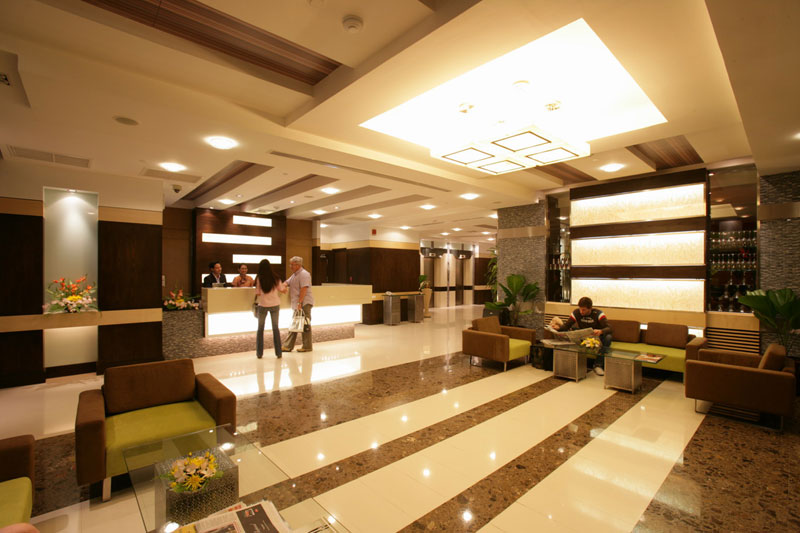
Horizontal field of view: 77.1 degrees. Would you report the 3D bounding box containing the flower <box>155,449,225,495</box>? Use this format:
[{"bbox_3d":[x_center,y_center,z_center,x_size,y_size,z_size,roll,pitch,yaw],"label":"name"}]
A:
[{"bbox_3d":[-2.209,2.128,5.164,0.464,0.190,0.459,-6,-4,8],"label":"flower"}]

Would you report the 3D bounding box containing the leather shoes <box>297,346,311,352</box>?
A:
[{"bbox_3d":[-2.033,1.746,10.637,0.287,0.110,0.108,8,-9,-33],"label":"leather shoes"}]

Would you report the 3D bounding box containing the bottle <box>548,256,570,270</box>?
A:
[{"bbox_3d":[3.605,-0.089,11.284,0.334,0.110,0.322,4,-22,2],"label":"bottle"}]

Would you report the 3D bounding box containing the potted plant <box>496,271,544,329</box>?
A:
[{"bbox_3d":[2.724,0.750,11.440,1.051,1.013,0.836,7,-3,16],"label":"potted plant"}]

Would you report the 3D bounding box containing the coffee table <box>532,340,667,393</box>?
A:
[{"bbox_3d":[3.405,1.708,8.746,1.868,0.540,0.537,3,6,37],"label":"coffee table"}]

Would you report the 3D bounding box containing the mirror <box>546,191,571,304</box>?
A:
[{"bbox_3d":[3.525,-0.340,11.278,0.317,2.308,0.484,-5,4,-29],"label":"mirror"}]

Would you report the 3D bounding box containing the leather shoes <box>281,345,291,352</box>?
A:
[{"bbox_3d":[-2.383,1.737,10.535,0.207,0.075,0.070,-1,-1,13],"label":"leather shoes"}]

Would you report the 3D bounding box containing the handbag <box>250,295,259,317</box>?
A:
[{"bbox_3d":[-2.929,0.818,10.203,0.173,0.214,0.546,1,-33,-7],"label":"handbag"}]

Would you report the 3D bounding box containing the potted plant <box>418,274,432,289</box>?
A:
[{"bbox_3d":[0.938,0.570,18.405,0.510,0.470,0.491,0,-2,8],"label":"potted plant"}]

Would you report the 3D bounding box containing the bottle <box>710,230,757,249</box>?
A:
[{"bbox_3d":[6.114,-0.492,9.184,0.626,0.307,0.301,3,1,42],"label":"bottle"}]

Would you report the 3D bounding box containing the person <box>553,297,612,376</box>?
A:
[{"bbox_3d":[3.407,1.268,9.504,1.083,1.285,1.117,-2,5,14],"label":"person"}]

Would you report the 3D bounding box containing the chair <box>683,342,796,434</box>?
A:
[{"bbox_3d":[5.103,1.758,7.581,1.340,1.007,1.294,1,3,35],"label":"chair"}]

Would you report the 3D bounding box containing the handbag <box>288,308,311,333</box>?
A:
[{"bbox_3d":[-2.096,1.112,10.421,0.352,0.491,0.514,-4,-1,5],"label":"handbag"}]

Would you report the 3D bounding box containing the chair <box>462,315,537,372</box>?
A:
[{"bbox_3d":[1.939,1.415,9.715,1.067,0.759,0.968,-3,5,-42],"label":"chair"}]

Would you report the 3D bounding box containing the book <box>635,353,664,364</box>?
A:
[{"bbox_3d":[4.133,1.529,8.278,0.344,0.158,0.525,-4,-1,31],"label":"book"}]

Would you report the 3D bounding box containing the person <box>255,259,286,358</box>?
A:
[{"bbox_3d":[-2.687,0.846,10.162,0.551,1.854,0.576,-4,-1,32],"label":"person"}]

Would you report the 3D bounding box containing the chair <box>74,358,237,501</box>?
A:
[{"bbox_3d":[-3.053,1.873,6.304,1.691,1.066,1.148,-3,14,-33],"label":"chair"}]
